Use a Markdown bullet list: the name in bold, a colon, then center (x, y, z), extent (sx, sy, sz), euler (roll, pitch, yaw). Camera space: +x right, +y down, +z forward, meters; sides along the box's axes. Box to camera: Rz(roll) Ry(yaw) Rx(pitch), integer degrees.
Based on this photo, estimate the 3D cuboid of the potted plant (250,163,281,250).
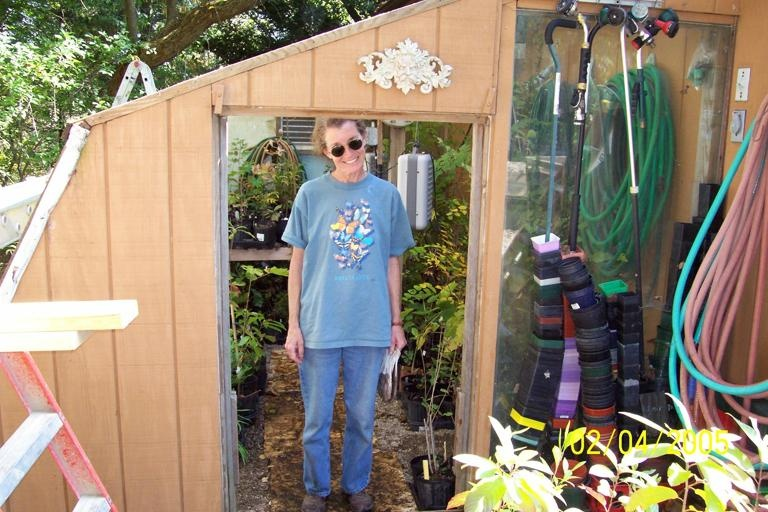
- **potted plant**: center (-1.035, -0.464, 5.903), extent (0.240, 0.689, 0.615), euler (-3, 11, -9)
